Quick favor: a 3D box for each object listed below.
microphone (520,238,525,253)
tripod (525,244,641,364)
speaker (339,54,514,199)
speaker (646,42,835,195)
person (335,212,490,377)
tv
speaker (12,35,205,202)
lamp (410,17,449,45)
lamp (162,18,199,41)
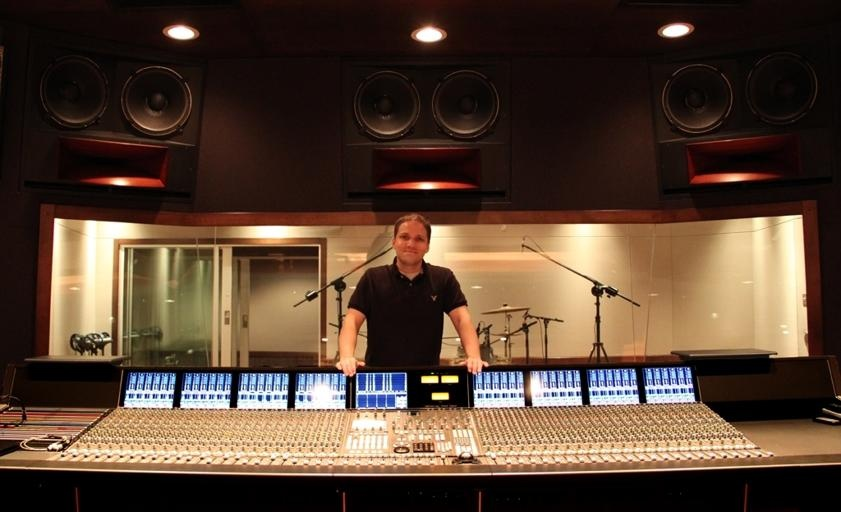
[{"bbox_3d":[0.899,-0.098,5.941,0.037,0.103,0.056,-1,-8,8],"label":"microphone"},{"bbox_3d":[1.407,0.383,5.902,0.791,1.061,0.715,-6,-10,38],"label":"tripod"},{"bbox_3d":[0.029,-0.996,5.894,1.941,1.310,0.995,0,0,1],"label":"speaker"},{"bbox_3d":[2.515,-1.059,5.771,1.924,1.450,0.992,-1,2,12],"label":"speaker"},{"bbox_3d":[-0.065,0.328,4.420,0.933,1.117,0.692,1,7,-5],"label":"person"},{"bbox_3d":[-0.078,0.785,4.097,3.550,0.268,0.152,1,-8,-2],"label":"tv"},{"bbox_3d":[-2.667,-1.086,5.441,0.679,1.152,1.411,17,14,37],"label":"speaker"},{"bbox_3d":[0.055,-1.703,5.164,0.254,0.055,0.257,7,-10,-43],"label":"lamp"},{"bbox_3d":[-1.860,-1.708,5.106,0.274,0.047,0.212,2,-8,-11],"label":"lamp"}]
